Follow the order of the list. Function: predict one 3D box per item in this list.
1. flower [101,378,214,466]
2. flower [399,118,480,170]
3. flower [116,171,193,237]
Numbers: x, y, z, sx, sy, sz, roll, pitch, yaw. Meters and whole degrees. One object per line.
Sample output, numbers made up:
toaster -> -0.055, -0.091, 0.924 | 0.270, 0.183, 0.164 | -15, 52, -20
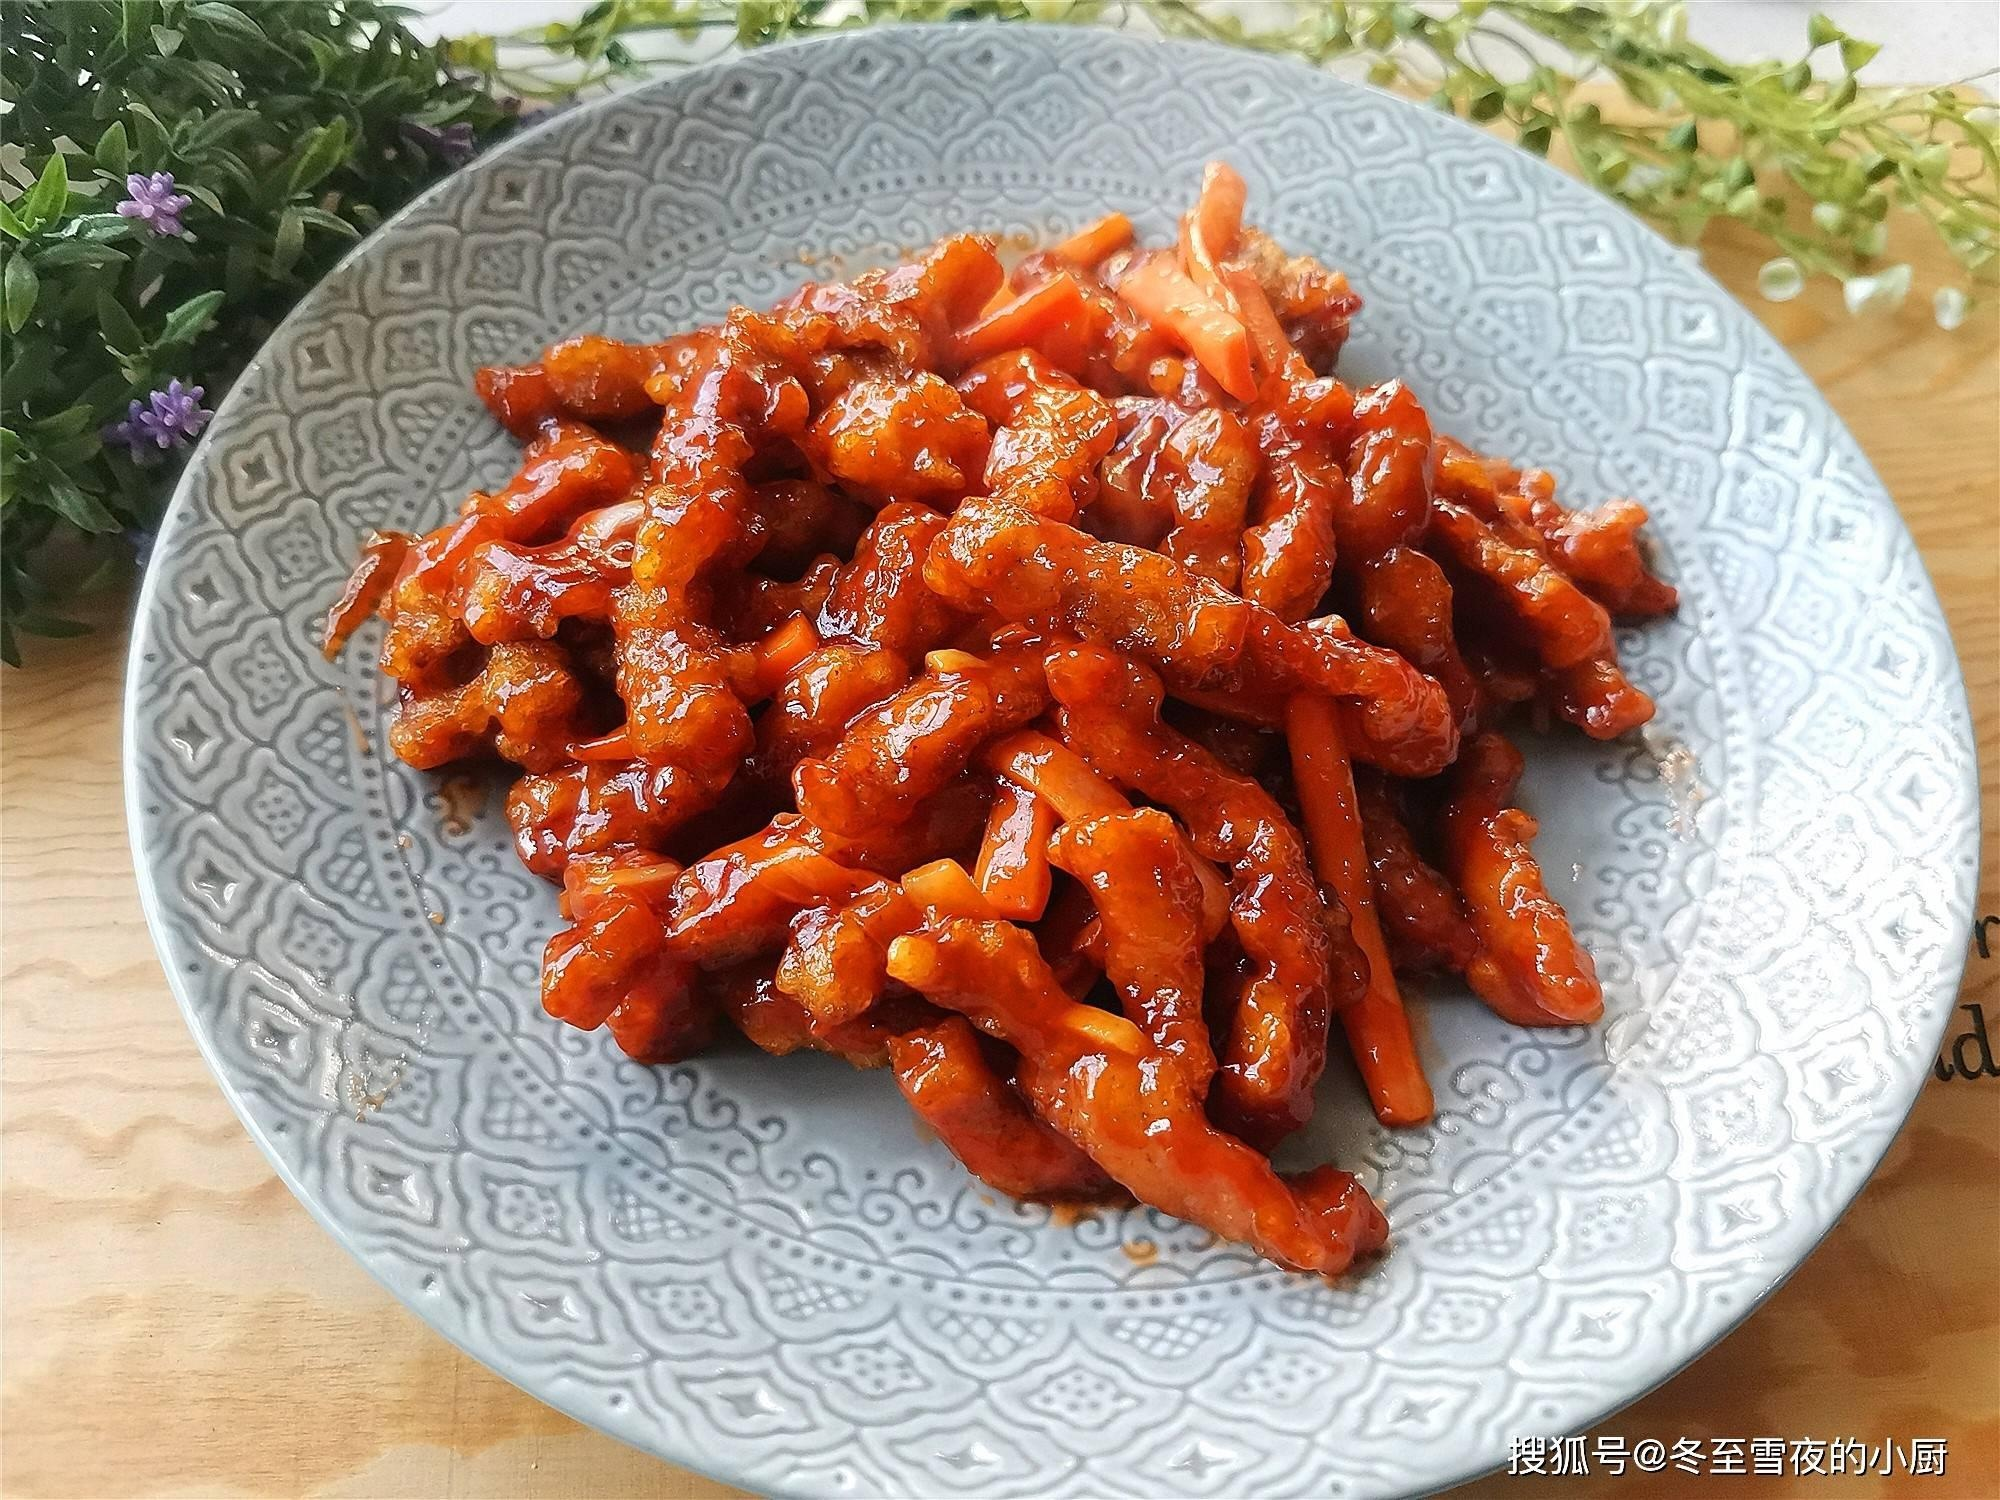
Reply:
flower -> -1.573, -0.625, 4.079 | 0.177, 0.174, 0.079 | -33, 18, 10
flower -> -1.110, -1.221, 4.299 | 0.134, 0.087, 0.033 | 19, 7, -21
flower -> -1.533, -0.998, 3.914 | 0.115, 0.049, 0.117 | 38, 67, -14
